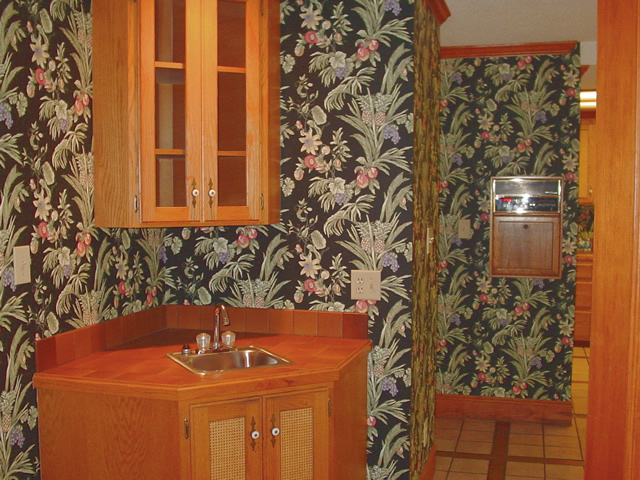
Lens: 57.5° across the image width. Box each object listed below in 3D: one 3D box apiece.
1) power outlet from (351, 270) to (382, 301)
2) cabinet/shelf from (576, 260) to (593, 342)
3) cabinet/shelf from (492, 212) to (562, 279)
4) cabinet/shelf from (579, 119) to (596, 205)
[{"bbox_3d":[0.245,0.227,3.008,0.152,0.155,0.016,1,4,11],"label":"power outlet"},{"bbox_3d":[3.149,0.705,6.979,0.182,1.120,0.395,0,0,22],"label":"cabinet/shelf"},{"bbox_3d":[1.658,0.040,4.615,0.502,0.483,0.183,0,-1,11],"label":"cabinet/shelf"},{"bbox_3d":[3.251,-0.983,7.088,0.168,1.017,0.378,0,0,24],"label":"cabinet/shelf"}]
